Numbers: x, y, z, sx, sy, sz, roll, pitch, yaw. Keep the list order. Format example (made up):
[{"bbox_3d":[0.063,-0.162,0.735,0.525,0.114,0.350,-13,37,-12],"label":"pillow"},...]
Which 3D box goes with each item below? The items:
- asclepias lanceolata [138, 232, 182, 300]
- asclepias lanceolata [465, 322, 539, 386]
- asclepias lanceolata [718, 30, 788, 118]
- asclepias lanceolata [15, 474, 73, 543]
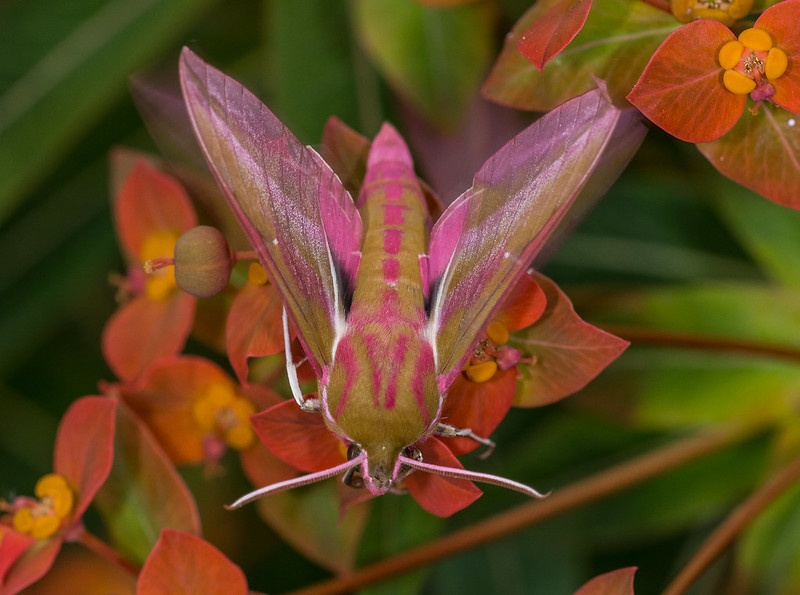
[{"bbox_3d":[-0.213,-0.032,0.860,0.044,0.056,0.013,-16,-21,20],"label":"asclepias lanceolata"},{"bbox_3d":[0.078,0.047,0.781,0.048,0.055,0.019,10,-2,5],"label":"asclepias lanceolata"},{"bbox_3d":[0.294,-0.175,0.788,0.044,0.014,0.051,24,32,3],"label":"asclepias lanceolata"},{"bbox_3d":[-0.291,0.171,0.785,0.050,0.047,0.025,-6,17,-19],"label":"asclepias lanceolata"}]
